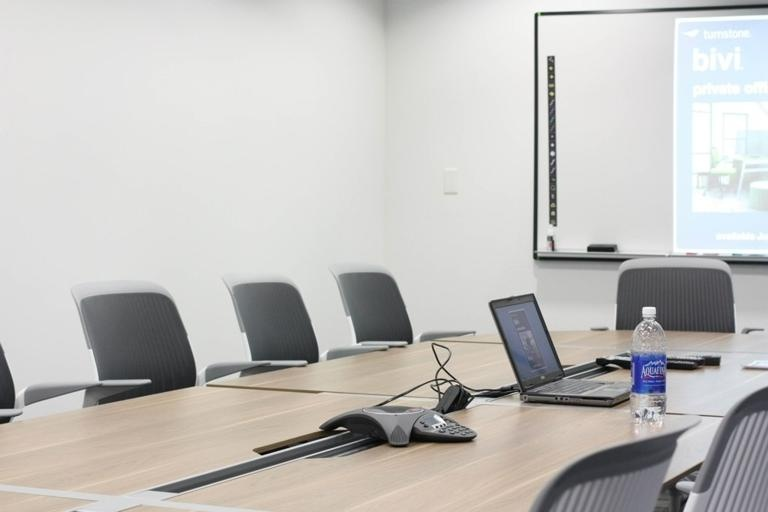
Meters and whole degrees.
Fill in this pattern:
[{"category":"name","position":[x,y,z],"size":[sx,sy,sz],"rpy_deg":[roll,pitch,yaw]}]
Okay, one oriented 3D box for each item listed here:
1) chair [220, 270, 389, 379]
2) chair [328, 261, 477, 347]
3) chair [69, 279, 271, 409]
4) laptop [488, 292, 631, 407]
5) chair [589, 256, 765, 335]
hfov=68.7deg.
[{"category":"chair","position":[-0.369,0.321,3.464],"size":[0.752,0.895,0.766],"rpy_deg":[-4,-4,-45]},{"category":"chair","position":[0.117,0.351,4.117],"size":[0.690,0.892,0.756],"rpy_deg":[-4,-6,-44]},{"category":"chair","position":[-1.144,0.392,2.936],"size":[0.682,0.751,0.642],"rpy_deg":[-2,-3,-42]},{"category":"laptop","position":[0.638,0.285,2.014],"size":[0.420,0.290,0.460],"rpy_deg":[-2,-2,27]},{"category":"chair","position":[2.142,0.283,4.172],"size":[0.731,0.780,0.738],"rpy_deg":[-2,-4,11]}]
